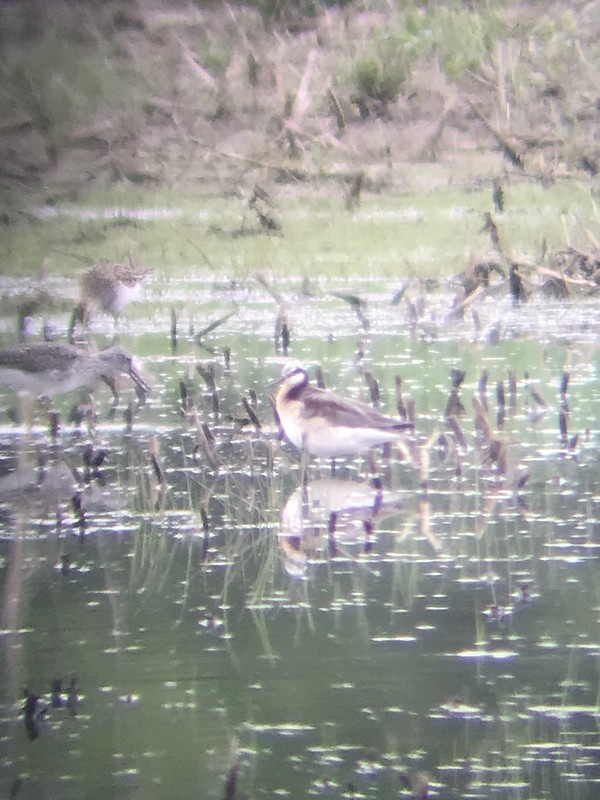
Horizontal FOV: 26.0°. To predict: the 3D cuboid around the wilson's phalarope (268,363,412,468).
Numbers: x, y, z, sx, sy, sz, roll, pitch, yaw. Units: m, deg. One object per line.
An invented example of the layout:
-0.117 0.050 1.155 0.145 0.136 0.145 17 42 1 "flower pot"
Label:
0.176 0.074 5.503 0.661 0.442 0.252 0 -3 29 "wilson's phalarope"
